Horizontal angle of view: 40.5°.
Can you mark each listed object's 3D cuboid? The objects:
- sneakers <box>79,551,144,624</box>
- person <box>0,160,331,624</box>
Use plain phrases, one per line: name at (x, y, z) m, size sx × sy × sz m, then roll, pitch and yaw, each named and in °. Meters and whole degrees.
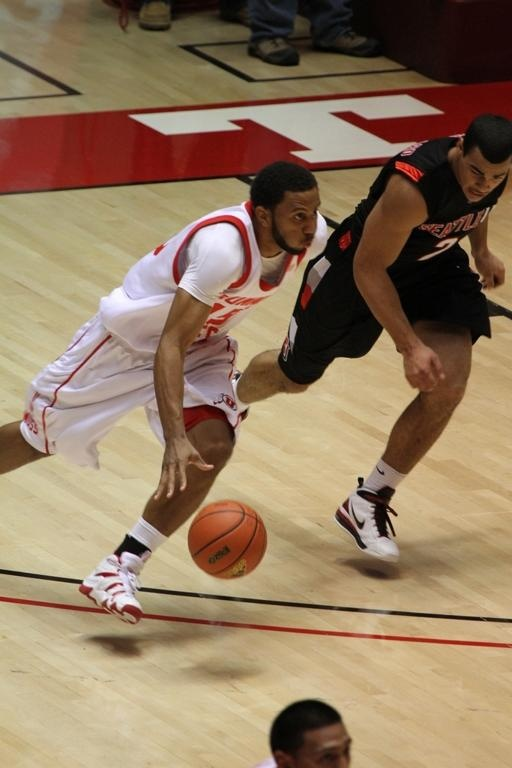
sneakers at (-0.307, 0.441, 1.491) m, size 0.171 × 0.117 × 0.057 m, roll 27°, pitch -21°, yaw 36°
person at (-0.282, -0.047, 1.589) m, size 0.562 × 1.004 × 0.752 m, roll 19°, pitch 25°, yaw 0°
